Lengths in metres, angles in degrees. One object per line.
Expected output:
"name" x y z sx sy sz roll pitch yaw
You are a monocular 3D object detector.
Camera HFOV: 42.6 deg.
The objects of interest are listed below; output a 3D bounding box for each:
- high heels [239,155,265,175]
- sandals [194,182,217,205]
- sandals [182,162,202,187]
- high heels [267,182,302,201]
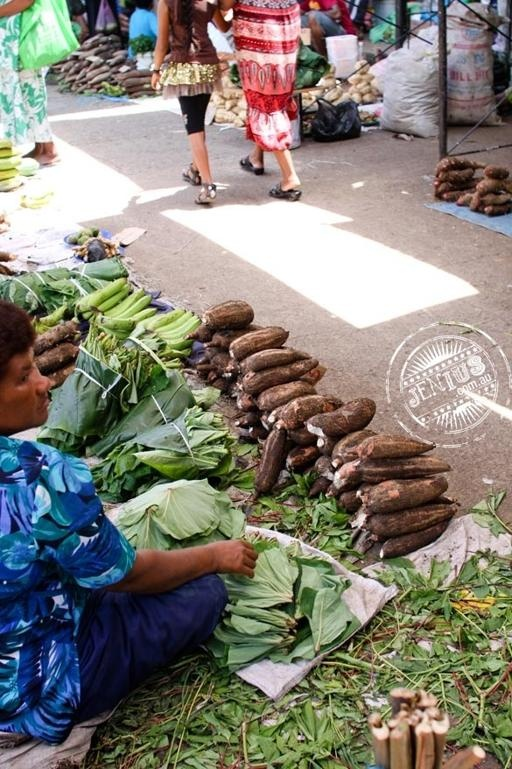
"high heels" -0.050 -2.281 6.855 0.145 0.146 0.370 -27 44 -13
"sandals" -0.453 -1.703 5.881 0.137 0.173 0.248 -4 13 -17
"sandals" -0.648 -2.093 6.536 0.167 0.136 0.329 -7 31 -12
"high heels" 0.280 -1.754 5.949 0.128 0.149 0.346 -45 32 -9
